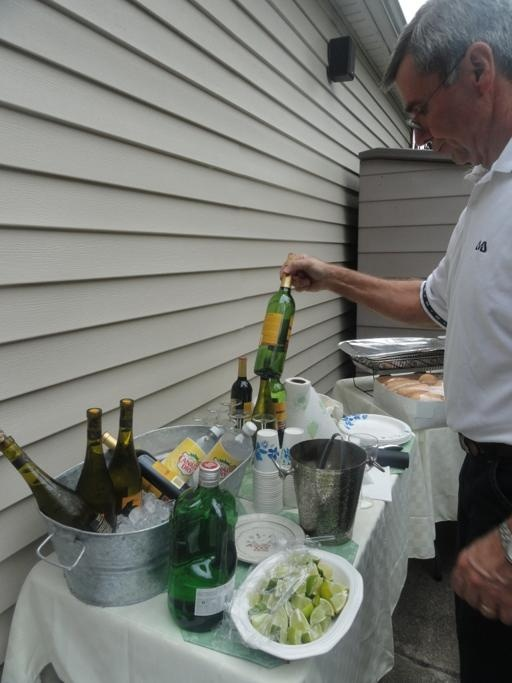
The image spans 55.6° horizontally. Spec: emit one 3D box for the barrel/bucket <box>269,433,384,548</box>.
[{"bbox_3d":[0.169,0.316,1.065,0.232,0.200,0.175,-4,8,-13],"label":"barrel/bucket"}]

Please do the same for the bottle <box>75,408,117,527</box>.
[{"bbox_3d":[-0.300,0.253,0.924,0.078,0.287,0.067,-3,30,-19],"label":"bottle"}]

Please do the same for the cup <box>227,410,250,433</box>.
[{"bbox_3d":[-0.048,0.216,1.294,0.033,0.052,0.051,1,3,5],"label":"cup"}]

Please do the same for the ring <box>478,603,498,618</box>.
[{"bbox_3d":[0.455,0.528,0.955,0.024,0.025,0.024,-11,-13,-3],"label":"ring"}]

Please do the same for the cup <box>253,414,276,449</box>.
[{"bbox_3d":[0.020,0.240,1.260,0.052,0.090,0.088,0,5,2],"label":"cup"}]

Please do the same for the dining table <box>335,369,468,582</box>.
[{"bbox_3d":[0.702,0.541,2.301,0.778,0.391,0.799,5,23,16],"label":"dining table"}]

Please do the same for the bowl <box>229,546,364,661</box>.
[{"bbox_3d":[0.070,0.430,0.803,0.181,0.047,0.270,4,8,26],"label":"bowl"}]

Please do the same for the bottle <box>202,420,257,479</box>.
[{"bbox_3d":[-0.058,0.238,1.058,0.058,0.155,0.060,-17,-5,-1],"label":"bottle"}]

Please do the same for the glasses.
[{"bbox_3d":[0.409,-0.560,1.074,0.136,0.044,0.148,29,-12,47],"label":"glasses"}]

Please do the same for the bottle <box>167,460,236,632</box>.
[{"bbox_3d":[-0.087,0.352,0.781,0.106,0.247,0.068,-1,13,-9],"label":"bottle"}]
